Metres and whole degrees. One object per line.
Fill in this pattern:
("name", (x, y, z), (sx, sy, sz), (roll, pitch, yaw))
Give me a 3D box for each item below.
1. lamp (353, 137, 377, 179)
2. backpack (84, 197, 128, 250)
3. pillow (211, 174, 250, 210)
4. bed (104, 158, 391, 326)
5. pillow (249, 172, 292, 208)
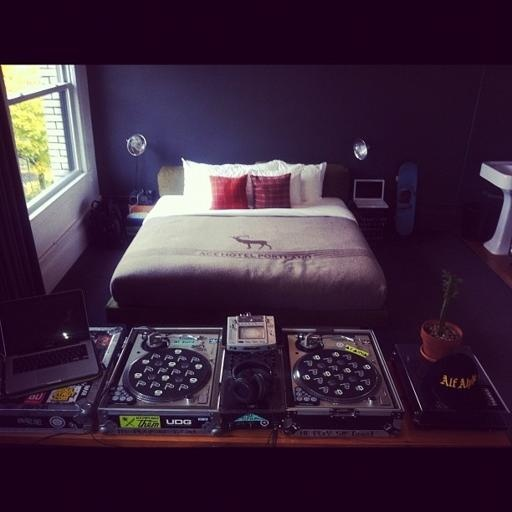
("lamp", (1.208, -1.186, 4.856), (0.062, 0.276, 0.267), (-4, -9, -35))
("backpack", (-1.719, -0.348, 4.761), (0.458, 0.680, 0.373), (5, 30, 3))
("pillow", (-0.284, -0.644, 4.333), (0.405, 0.388, 0.156), (-1, 0, -4))
("bed", (-0.080, 0.069, 3.562), (2.059, 0.641, 1.321), (3, 18, -2))
("pillow", (0.151, -0.669, 4.352), (0.361, 0.355, 0.139), (-1, -1, 4))
